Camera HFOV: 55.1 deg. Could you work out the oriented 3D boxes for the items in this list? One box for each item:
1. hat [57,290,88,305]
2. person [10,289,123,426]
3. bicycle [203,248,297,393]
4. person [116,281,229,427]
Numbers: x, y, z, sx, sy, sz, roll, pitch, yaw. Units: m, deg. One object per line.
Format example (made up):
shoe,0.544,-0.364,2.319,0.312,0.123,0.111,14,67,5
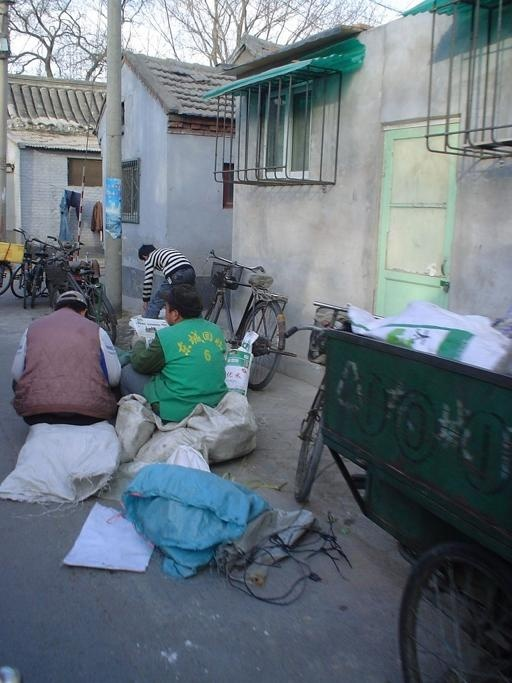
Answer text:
hat,-1.696,-0.406,4.504,0.314,0.112,0.293,2,3,-40
person,-1.582,0.149,4.152,0.728,1.148,0.649,0,-18,-16
bicycle,-0.317,-0.428,6.510,0.959,1.363,2.160,5,24,-29
person,-0.708,0.082,4.132,0.877,1.105,0.490,6,8,29
